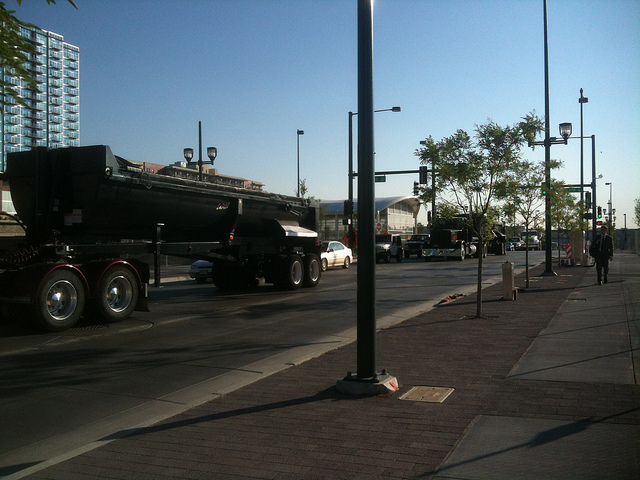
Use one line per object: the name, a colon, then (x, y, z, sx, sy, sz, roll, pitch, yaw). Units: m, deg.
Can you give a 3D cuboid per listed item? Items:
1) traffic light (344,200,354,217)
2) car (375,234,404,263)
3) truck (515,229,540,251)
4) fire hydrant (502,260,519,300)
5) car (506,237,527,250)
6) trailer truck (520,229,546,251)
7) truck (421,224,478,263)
traffic light: (1.612, -1.716, 37.813, 0.404, 0.955, 0.847, -1, 2, 32)
car: (4.492, 0.674, 43.823, 1.424, 1.321, 2.276, -3, -6, 28)
truck: (19.029, 0.298, 59.190, 1.751, 2.070, 3.569, -3, -5, 29)
fire hydrant: (4.910, 1.112, 16.807, 0.366, 0.977, 0.863, -2, 2, 16)
car: (21.175, 0.595, 70.170, 1.214, 1.077, 2.231, -2, -5, 21)
trailer truck: (18.335, 0.283, 56.054, 1.815, 1.774, 3.974, -2, -4, 24)
truck: (9.071, 0.336, 44.881, 2.322, 2.611, 4.733, -1, 2, 42)
